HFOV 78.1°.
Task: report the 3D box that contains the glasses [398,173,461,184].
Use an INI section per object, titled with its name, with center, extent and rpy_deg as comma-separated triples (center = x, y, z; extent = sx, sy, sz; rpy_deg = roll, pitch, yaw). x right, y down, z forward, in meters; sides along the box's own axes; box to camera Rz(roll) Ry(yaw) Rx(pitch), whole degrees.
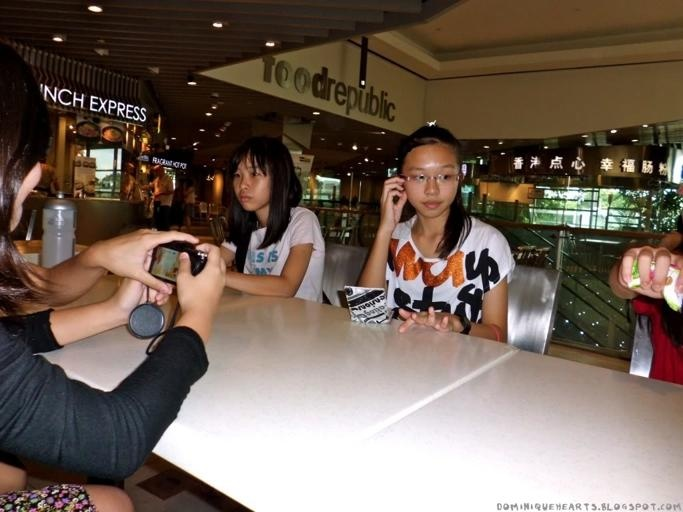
[glasses]
center = 0.352, -0.302, 1.656
extent = 0.202, 0.045, 0.074
rpy_deg = 4, 9, 8
